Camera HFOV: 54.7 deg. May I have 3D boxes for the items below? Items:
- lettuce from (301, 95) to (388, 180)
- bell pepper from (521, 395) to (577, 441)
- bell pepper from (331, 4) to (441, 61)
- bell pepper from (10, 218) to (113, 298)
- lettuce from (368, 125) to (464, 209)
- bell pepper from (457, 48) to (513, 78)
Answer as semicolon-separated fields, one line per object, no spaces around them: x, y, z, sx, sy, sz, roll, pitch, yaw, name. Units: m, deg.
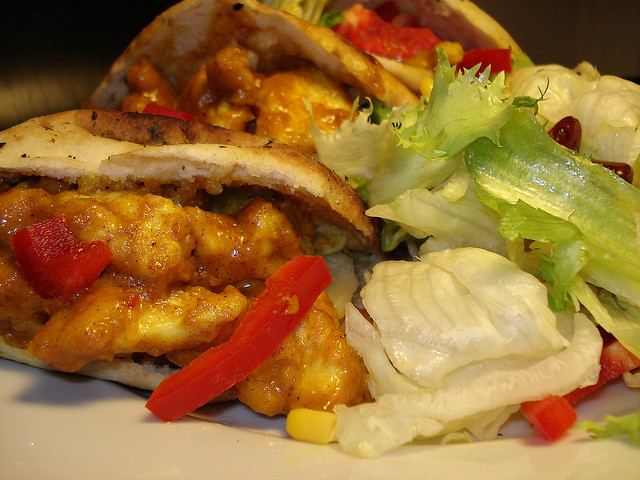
0.118;-0.372;2.161;0.222;0.252;0.437;-13;19;-35;lettuce
0.641;0.493;1.738;0.127;0.126;0.035;57;2;32;bell pepper
0.311;-1.012;3.011;0.556;0.173;0.337;21;27;15;bell pepper
-0.755;0.056;1.819;0.250;0.197;0.138;20;28;10;bell pepper
0.344;-0.256;2.087;0.150;0.231;0.304;-15;23;-25;lettuce
0.768;-0.832;2.846;0.230;0.117;0.148;22;28;16;bell pepper
